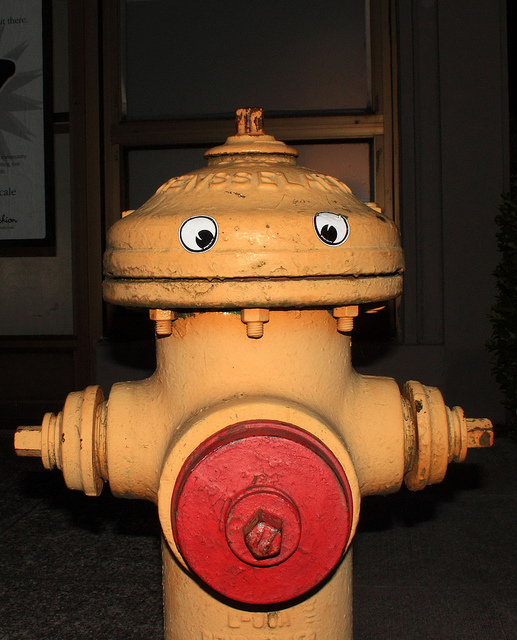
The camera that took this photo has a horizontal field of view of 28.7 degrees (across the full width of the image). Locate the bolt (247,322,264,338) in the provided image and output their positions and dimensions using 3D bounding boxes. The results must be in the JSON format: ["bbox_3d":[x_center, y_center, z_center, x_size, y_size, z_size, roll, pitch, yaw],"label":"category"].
[{"bbox_3d":[-0.012,0.032,2.978,0.040,0.047,0.039,-1,1,-44],"label":"bolt"}]

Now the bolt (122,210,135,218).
[{"bbox_3d":[-0.420,-0.344,3.251,0.030,0.037,0.036,0,-1,-4],"label":"bolt"}]
